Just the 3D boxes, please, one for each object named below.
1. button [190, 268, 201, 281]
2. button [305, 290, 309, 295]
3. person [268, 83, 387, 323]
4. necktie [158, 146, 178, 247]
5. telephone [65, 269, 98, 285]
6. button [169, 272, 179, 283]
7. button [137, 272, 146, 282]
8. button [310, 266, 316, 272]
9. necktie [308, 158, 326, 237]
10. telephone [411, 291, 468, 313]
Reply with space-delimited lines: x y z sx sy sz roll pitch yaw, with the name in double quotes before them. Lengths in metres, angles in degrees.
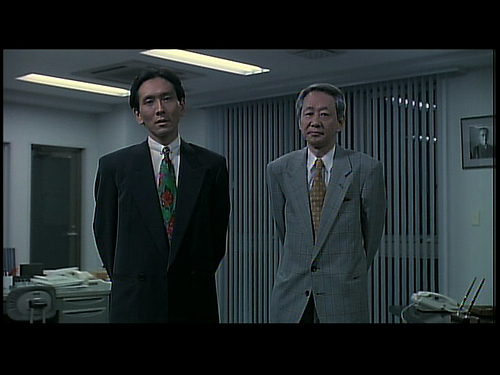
"button" -0.319 0.499 2.911 0.063 0.069 0.015 3 2 -20
"button" 0.320 0.592 2.841 0.020 0.025 0.006 1 4 14
"person" 0.443 0.096 2.898 0.680 1.385 0.256 0 4 2
"necktie" -0.474 0.035 2.916 0.126 0.534 0.090 3 5 37
"telephone" -1.712 0.905 5.092 0.377 0.133 0.202 2 4 19
"button" -0.438 0.508 2.880 0.053 0.054 0.013 -8 8 -7
"button" -0.618 0.505 2.863 0.035 0.053 0.018 1 -1 -7
"button" 0.355 0.459 2.843 0.033 0.034 0.008 -1 4 -10
"necktie" 0.387 0.049 2.890 0.096 0.433 0.093 0 4 -6
"telephone" 1.157 0.714 3.133 0.207 0.076 0.155 0 -5 2
